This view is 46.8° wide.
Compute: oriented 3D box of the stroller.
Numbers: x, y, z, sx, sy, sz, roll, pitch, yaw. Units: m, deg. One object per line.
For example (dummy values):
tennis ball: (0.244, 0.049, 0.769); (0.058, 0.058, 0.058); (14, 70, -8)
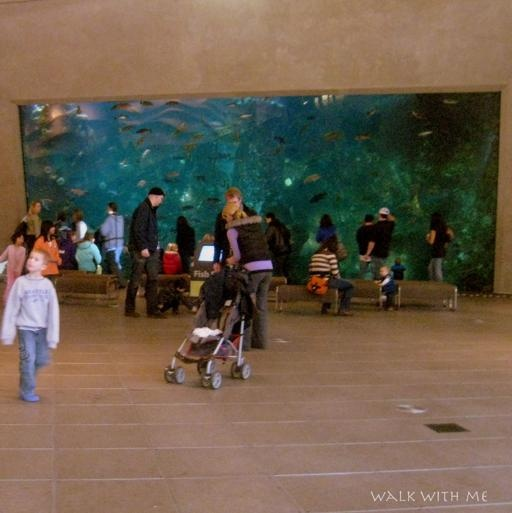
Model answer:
stroller: (-0.421, 0.604, 5.466); (0.762, 1.016, 1.067); (1, 3, 0)

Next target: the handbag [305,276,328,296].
handbag: (1.000, 0.469, 9.627); (0.309, 0.226, 0.178); (14, -16, 5)

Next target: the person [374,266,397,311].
person: (2.400, 0.539, 10.829); (0.367, 0.756, 1.143); (2, 3, 13)

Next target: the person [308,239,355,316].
person: (1.244, 0.330, 9.818); (0.734, 1.253, 0.603); (1, 4, 6)

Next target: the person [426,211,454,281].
person: (3.764, -0.216, 12.104); (0.487, 1.427, 1.196); (2, 4, 17)

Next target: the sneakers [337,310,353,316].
sneakers: (1.481, 0.931, 9.795); (0.267, 0.090, 0.079); (-1, 4, 0)

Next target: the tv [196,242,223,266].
tv: (-0.947, -0.118, 10.883); (0.506, 0.397, 0.102); (3, -26, 4)
